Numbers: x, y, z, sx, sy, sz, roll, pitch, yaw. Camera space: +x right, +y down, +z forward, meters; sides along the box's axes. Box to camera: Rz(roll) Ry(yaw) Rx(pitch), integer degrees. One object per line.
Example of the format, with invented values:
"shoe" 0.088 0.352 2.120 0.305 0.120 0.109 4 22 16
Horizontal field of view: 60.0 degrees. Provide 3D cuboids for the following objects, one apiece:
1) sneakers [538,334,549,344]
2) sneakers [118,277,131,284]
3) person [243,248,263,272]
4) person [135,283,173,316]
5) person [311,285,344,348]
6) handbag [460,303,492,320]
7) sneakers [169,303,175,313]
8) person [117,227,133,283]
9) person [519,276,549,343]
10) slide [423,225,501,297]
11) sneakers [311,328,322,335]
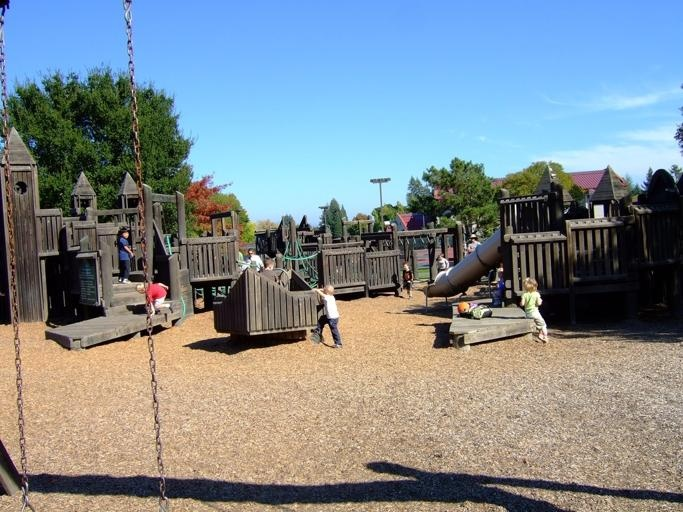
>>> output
"sneakers" 4.711 1.936 13.804 0.298 0.145 0.123 37 -4 23
"sneakers" -7.093 0.803 19.187 0.441 0.226 0.194 1 3 16
"person" -3.325 0.143 22.151 0.691 1.166 0.449 -2 -6 -15
"person" -5.509 1.226 17.383 0.874 1.067 0.637 -8 18 -13
"person" -0.393 1.441 15.524 0.749 1.611 2.039 -2 6 -3
"handbag" 3.402 1.400 14.987 0.393 0.257 0.555 11 -3 36
"sneakers" -5.060 1.535 17.532 0.061 0.233 0.148 0 11 -26
"person" -7.181 -0.056 19.579 0.482 1.693 1.496 -4 6 -20
"person" 4.796 1.244 14.640 0.632 1.438 2.009 0 6 17
"slide" 4.040 0.337 19.018 0.932 2.377 3.735 -4 7 -23
"sneakers" -0.650 1.941 15.172 0.211 0.227 0.152 3 -7 -31
